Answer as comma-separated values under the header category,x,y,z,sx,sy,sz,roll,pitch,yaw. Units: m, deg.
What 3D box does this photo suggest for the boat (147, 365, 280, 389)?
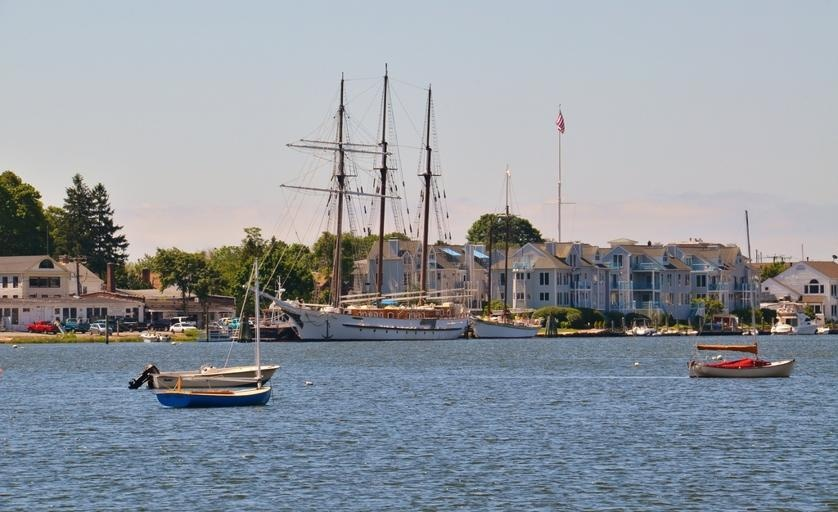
category,x,y,z,sx,sy,sz,roll,pitch,yaw
boat,-25.683,16.737,222.021,16.111,2.951,5.265,-2,2,-6

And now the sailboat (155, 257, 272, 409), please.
category,x,y,z,sx,sy,sz,roll,pitch,yaw
sailboat,-24.613,9.841,220.582,12.836,18.370,8.114,1,-4,-5
